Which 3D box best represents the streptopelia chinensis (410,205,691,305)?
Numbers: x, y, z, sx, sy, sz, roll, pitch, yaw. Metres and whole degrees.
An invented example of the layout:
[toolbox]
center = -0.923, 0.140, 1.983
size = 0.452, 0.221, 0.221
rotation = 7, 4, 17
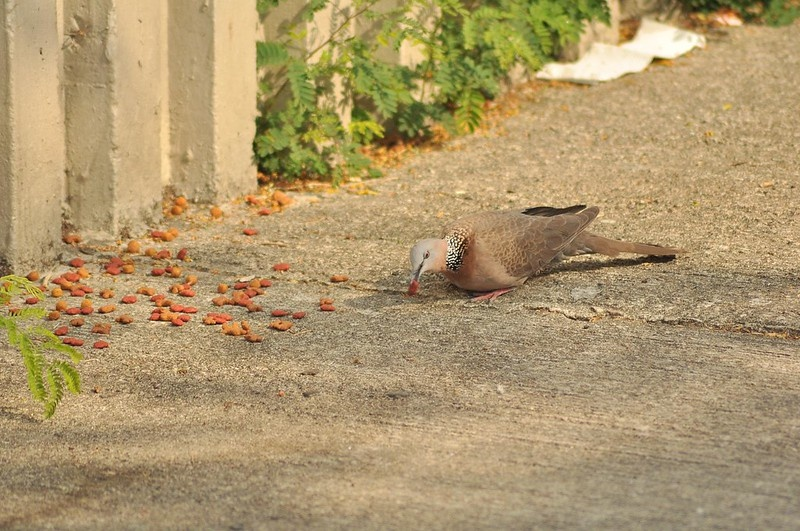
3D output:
[streptopelia chinensis]
center = 1.109, -0.044, 9.473
size = 1.784, 0.794, 2.031
rotation = 4, 17, 7
